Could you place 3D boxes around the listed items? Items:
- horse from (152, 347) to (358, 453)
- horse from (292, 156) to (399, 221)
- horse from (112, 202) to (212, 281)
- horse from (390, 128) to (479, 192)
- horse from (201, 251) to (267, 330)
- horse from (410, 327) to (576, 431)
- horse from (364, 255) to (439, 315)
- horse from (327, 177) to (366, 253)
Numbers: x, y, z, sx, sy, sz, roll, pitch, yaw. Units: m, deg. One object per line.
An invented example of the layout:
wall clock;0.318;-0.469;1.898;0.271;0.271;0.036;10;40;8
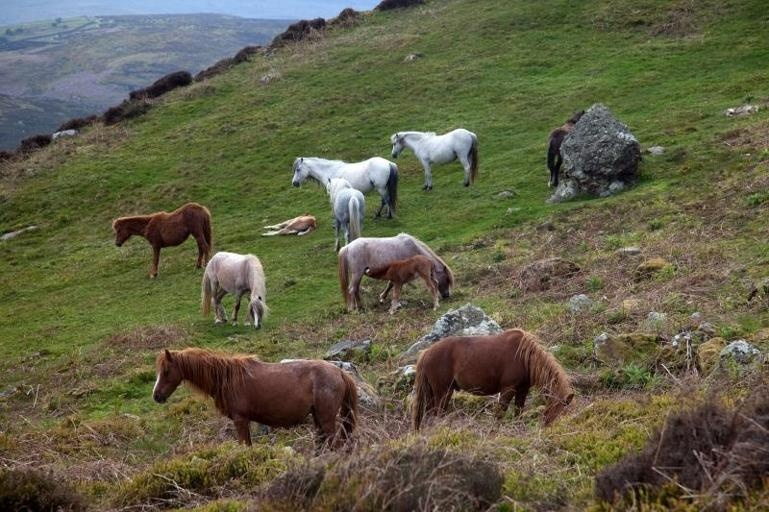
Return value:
horse;-4.331;4.960;32.051;6.628;3.433;1.090;-3;18;6
horse;-1.933;-3.352;45.089;5.328;3.496;1.377;-2;0;7
horse;-10.684;-0.700;43.640;4.701;3.255;1.342;-7;5;-6
horse;2.702;-4.982;46.799;3.352;2.581;1.046;3;14;24
horse;-5.879;1.162;38.804;2.208;3.747;3.562;5;-4;-24
horse;3.947;4.653;32.593;6.009;4.134;1.662;3;12;17
horse;0.912;1.038;37.556;2.845;2.160;0.864;1;18;16
horse;-1.113;-2.571;42.736;1.184;2.962;4.244;-4;19;-10
